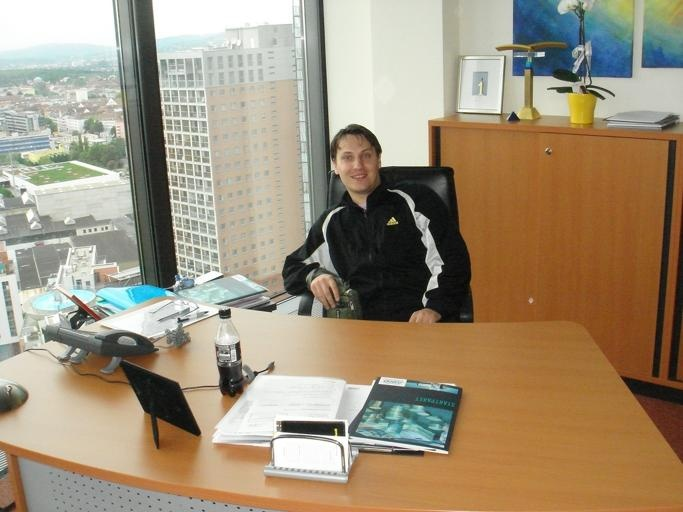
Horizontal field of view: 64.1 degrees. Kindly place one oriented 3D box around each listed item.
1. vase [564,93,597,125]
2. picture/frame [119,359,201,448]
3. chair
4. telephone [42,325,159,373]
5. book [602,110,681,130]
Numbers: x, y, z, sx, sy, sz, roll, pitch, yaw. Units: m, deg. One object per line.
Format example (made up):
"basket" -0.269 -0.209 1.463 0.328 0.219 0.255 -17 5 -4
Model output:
"vase" 1.394 -0.854 3.178 0.201 0.185 0.198 10 19 40
"picture/frame" -0.561 0.470 1.692 0.232 0.196 0.089 12 39 38
"chair" 0.202 -0.032 3.125 0.901 0.870 0.842 -9 2 22
"telephone" -0.904 0.341 2.055 0.454 0.145 0.116 7 7 14
"book" 1.706 -0.770 3.069 0.288 0.098 0.378 12 21 43
